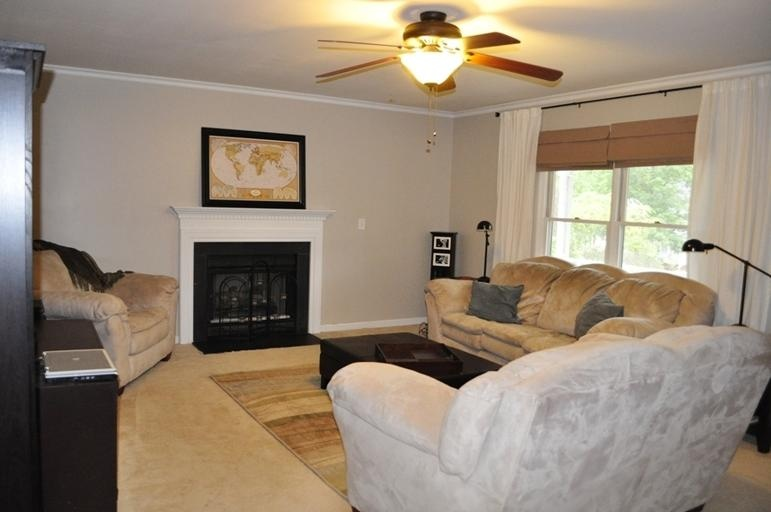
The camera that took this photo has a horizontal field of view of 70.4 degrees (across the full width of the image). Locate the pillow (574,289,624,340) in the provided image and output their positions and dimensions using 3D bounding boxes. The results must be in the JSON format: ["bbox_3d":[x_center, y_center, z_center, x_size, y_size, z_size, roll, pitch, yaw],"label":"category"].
[{"bbox_3d":[1.774,0.471,4.600,0.125,0.375,0.397,32,-16,-11],"label":"pillow"}]

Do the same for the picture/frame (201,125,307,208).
[{"bbox_3d":[-1.560,-1.022,6.218,1.128,0.751,0.083,0,1,-26],"label":"picture/frame"}]

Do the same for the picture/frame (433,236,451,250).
[{"bbox_3d":[0.741,-0.172,7.141,0.189,0.129,0.027,2,1,28],"label":"picture/frame"}]

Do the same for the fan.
[{"bbox_3d":[0.410,-1.396,4.036,1.131,0.309,0.984,0,0,3],"label":"fan"}]

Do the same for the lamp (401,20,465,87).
[{"bbox_3d":[0.320,-1.441,3.824,0.464,0.435,0.348,4,11,11],"label":"lamp"}]
